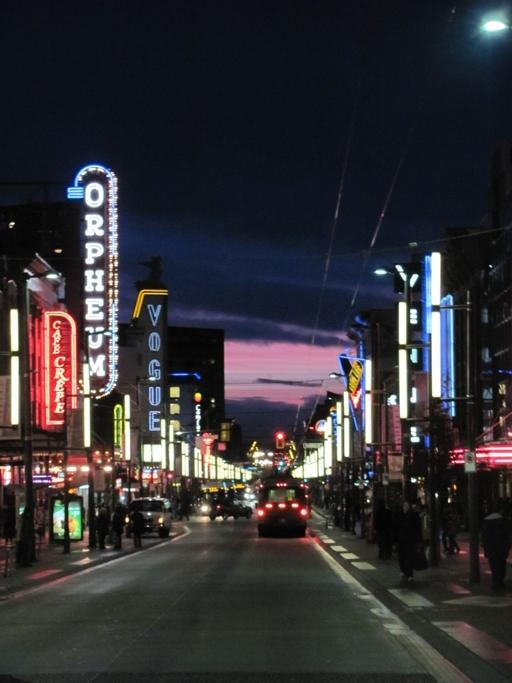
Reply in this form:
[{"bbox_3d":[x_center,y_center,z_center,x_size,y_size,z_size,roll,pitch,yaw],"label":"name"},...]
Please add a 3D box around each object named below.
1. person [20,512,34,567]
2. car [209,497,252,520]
[{"bbox_3d":[-6.087,5.200,28.052,0.338,1.531,0.796,1,-12,-14],"label":"person"},{"bbox_3d":[-1.887,11.996,75.281,2.771,1.270,1.421,-3,1,-28],"label":"car"}]
